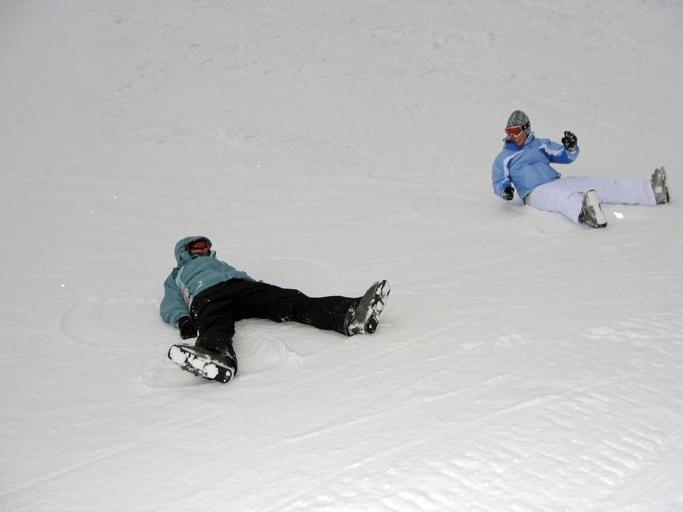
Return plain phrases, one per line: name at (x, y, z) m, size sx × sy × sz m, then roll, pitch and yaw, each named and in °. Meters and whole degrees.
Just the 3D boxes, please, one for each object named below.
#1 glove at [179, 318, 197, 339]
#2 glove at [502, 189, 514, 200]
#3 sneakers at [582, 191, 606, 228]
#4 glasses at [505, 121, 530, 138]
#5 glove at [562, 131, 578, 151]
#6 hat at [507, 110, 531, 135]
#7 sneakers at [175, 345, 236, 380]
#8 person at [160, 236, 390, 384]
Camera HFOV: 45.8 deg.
glove at (-0.817, 0.387, 4.273) m, size 0.087 × 0.100 × 0.045 m, roll -12°, pitch -9°, yaw -19°
glove at (1.224, -0.451, 5.915) m, size 0.068 × 0.073 × 0.080 m, roll -3°, pitch 5°, yaw -19°
sneakers at (1.652, -0.299, 5.284) m, size 0.124 × 0.264 × 0.121 m, roll -3°, pitch 11°, yaw 8°
glasses at (1.271, -0.921, 5.882) m, size 0.147 × 0.062 × 0.121 m, roll -15°, pitch 16°, yaw -34°
glove at (1.635, -0.836, 5.778) m, size 0.102 × 0.146 × 0.135 m, roll 6°, pitch 37°, yaw 12°
hat at (1.239, -0.977, 5.900) m, size 0.167 × 0.174 × 0.209 m, roll 5°, pitch 21°, yaw 41°
sneakers at (-0.641, 0.506, 3.824) m, size 0.320 × 0.135 × 0.076 m, roll 12°, pitch 12°, yaw -11°
person at (-0.611, 0.242, 4.333) m, size 1.142 × 0.306 × 1.284 m, roll -20°, pitch 29°, yaw -34°
